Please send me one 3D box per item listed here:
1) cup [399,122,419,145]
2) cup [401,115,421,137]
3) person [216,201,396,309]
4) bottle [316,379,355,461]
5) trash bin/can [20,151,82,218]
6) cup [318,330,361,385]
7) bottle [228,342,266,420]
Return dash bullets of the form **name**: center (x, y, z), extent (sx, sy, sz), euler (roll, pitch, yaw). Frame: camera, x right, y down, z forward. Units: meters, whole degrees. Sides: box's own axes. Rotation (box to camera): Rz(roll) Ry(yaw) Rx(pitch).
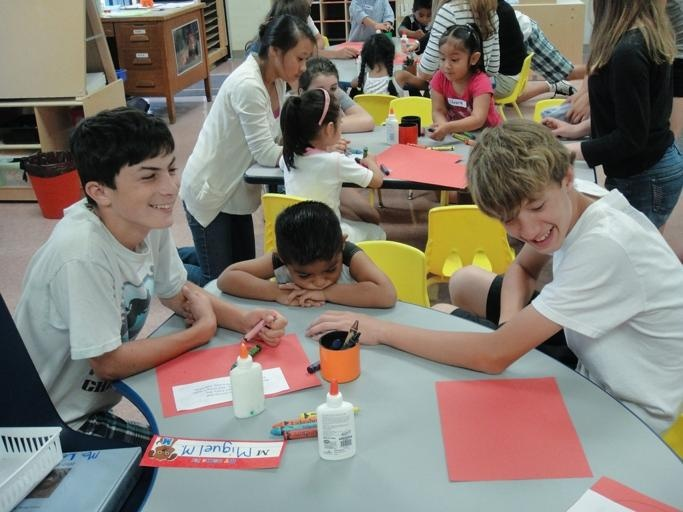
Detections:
- **cup**: center (0.406, -0.765, 3.358), extent (0.104, 0.130, 0.127), euler (-13, 31, -20)
- **cup**: center (0.448, -0.831, 3.474), extent (0.128, 0.160, 0.163), euler (-2, 35, 2)
- **person**: center (-0.150, 0.118, 2.235), extent (0.540, 0.464, 0.760), euler (-9, -10, 3)
- **bottle**: center (-0.013, 0.416, 1.354), extent (0.090, 0.224, 0.048), euler (-3, 21, -3)
- **trash bin/can**: center (-2.441, -0.541, 4.468), extent (0.352, 0.426, 0.372), euler (15, 10, 42)
- **cup**: center (0.002, 0.309, 1.632), extent (0.102, 0.118, 0.114), euler (1, 13, 9)
- **bottle**: center (-0.261, 0.348, 1.498), extent (0.087, 0.217, 0.048), euler (-10, 17, -27)
